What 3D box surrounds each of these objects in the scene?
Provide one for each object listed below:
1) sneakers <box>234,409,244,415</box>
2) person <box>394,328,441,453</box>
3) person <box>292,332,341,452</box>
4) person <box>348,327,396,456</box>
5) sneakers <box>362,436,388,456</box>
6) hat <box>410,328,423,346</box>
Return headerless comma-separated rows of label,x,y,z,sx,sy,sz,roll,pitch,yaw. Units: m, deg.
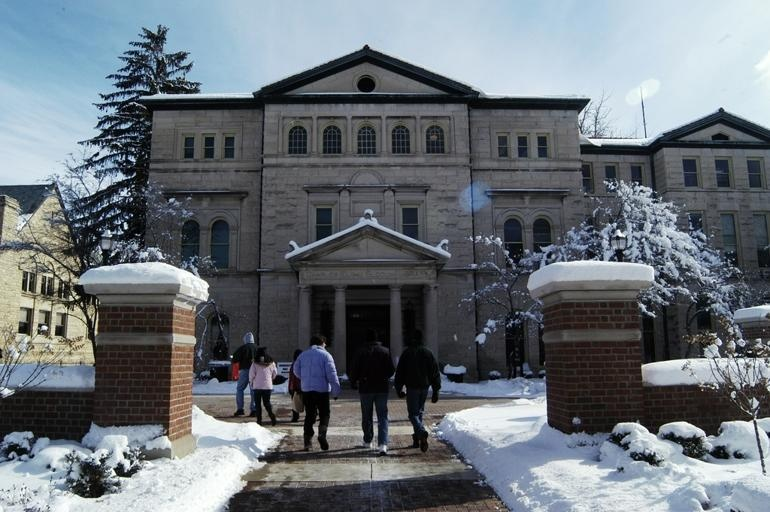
sneakers,-3.893,4.141,17.765,0.230,0.155,0.138,7,-11,2
person,0.720,2.858,14.590,0.948,2.502,1.377,-2,-4,1
person,-1.474,2.944,14.645,1.031,2.391,0.784,-8,-19,21
person,-0.244,2.853,14.437,0.938,2.491,1.508,-2,-4,-4
sneakers,-0.144,3.975,13.993,0.216,0.294,0.690,5,-4,-30
hat,0.706,1.788,14.656,0.283,0.323,0.324,1,-2,5
